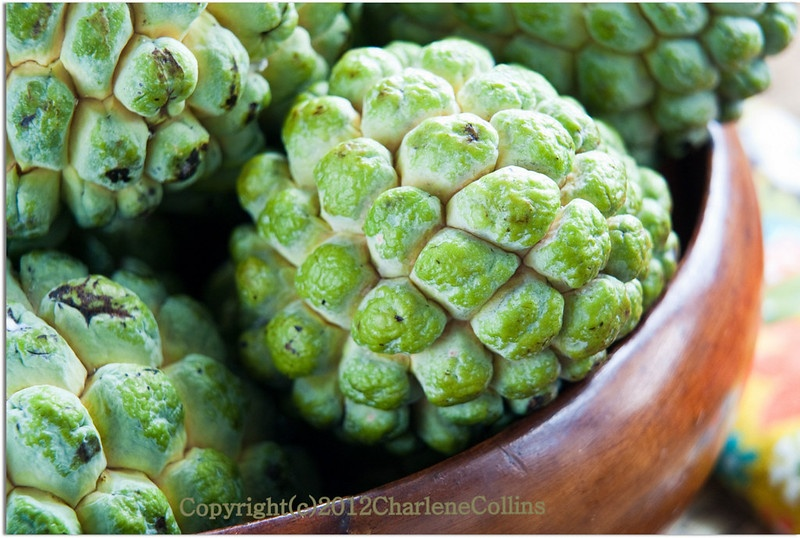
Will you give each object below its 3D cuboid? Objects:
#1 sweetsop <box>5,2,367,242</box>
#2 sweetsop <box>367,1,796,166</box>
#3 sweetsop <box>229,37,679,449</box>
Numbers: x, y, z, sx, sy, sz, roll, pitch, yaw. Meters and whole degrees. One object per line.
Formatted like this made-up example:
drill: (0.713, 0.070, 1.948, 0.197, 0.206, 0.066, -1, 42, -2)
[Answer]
sweetsop: (-0.260, -0.196, 0.907, 0.347, 0.264, 0.177, -22, 57, -5)
sweetsop: (0.270, -0.282, 1.060, 0.355, 0.196, 0.272, 6, 0, 10)
sweetsop: (0.081, -0.055, 0.999, 0.506, 0.459, 0.370, -3, 82, -27)
